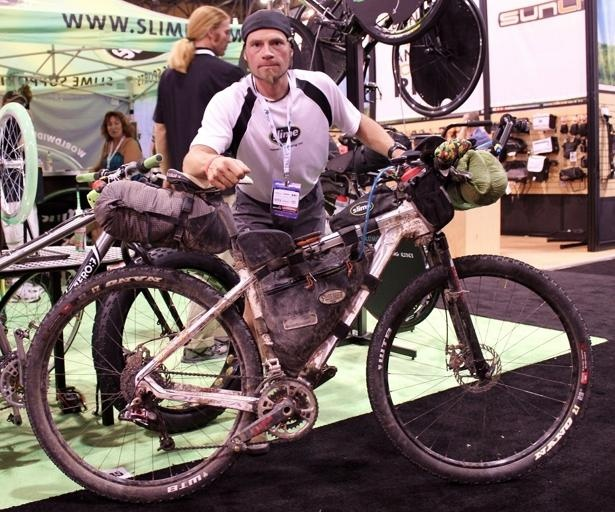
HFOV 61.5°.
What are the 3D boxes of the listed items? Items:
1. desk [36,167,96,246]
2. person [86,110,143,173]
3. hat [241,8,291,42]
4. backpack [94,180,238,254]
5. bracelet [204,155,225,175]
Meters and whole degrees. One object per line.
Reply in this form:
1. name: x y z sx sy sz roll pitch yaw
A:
1. desk: -2.825 -0.556 6.047 0.688 0.650 0.396 2 -4 44
2. person: -1.916 -1.099 5.215 0.511 0.746 0.432 -1 0 25
3. hat: -0.155 -0.858 1.911 0.183 0.114 0.136 -2 7 -4
4. backpack: -0.491 -0.145 1.847 0.488 0.199 0.357 15 5 -3
5. bracelet: -0.301 -0.295 1.668 0.020 0.056 0.043 18 -9 -22
